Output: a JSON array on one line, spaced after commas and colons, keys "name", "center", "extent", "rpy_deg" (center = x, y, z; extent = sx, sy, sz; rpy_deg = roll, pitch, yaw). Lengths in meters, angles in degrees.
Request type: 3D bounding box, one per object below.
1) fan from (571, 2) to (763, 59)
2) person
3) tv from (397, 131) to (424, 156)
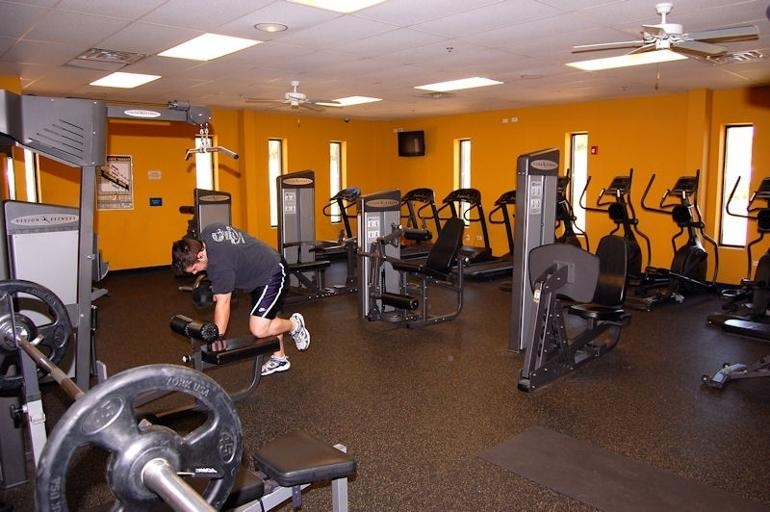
[{"name": "fan", "center": [2.393, -1.762, 4.442], "extent": [0.981, 0.233, 0.892], "rpy_deg": [-4, 5, -27]}, {"name": "person", "center": [-1.292, 0.460, 4.693], "extent": [0.676, 1.274, 1.136], "rpy_deg": [-1, 6, 42]}, {"name": "tv", "center": [0.553, -2.401, 11.485], "extent": [0.587, 0.446, 0.296], "rpy_deg": [7, 14, 35]}]
